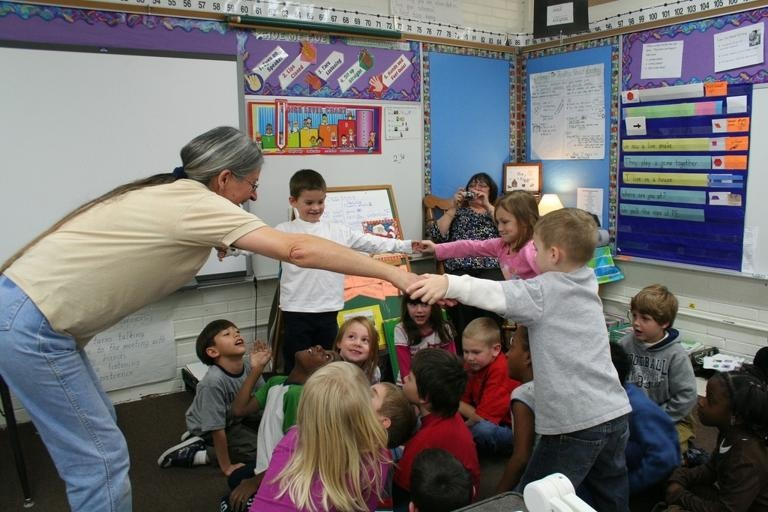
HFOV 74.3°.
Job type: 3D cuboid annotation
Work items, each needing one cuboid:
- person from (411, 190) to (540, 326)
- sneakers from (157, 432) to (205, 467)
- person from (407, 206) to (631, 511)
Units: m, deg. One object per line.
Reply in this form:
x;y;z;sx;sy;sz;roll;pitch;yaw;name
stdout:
0.687;-0.034;3.278;0.704;0.387;0.677;-6;3;26;person
-1.354;1.256;3.309;0.429;0.147;0.191;3;53;-10;sneakers
0.721;0.554;2.310;0.942;1.509;0.340;-3;11;-17;person
